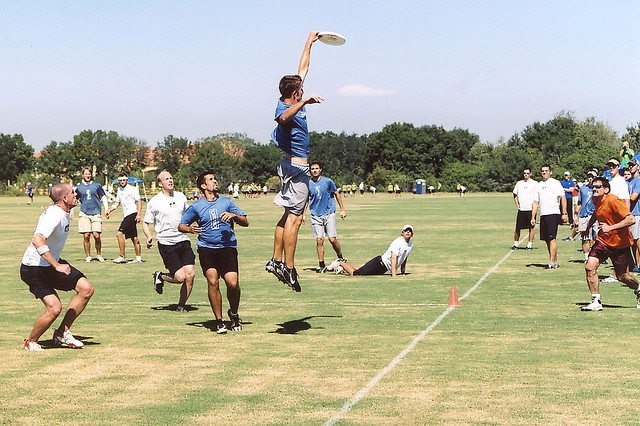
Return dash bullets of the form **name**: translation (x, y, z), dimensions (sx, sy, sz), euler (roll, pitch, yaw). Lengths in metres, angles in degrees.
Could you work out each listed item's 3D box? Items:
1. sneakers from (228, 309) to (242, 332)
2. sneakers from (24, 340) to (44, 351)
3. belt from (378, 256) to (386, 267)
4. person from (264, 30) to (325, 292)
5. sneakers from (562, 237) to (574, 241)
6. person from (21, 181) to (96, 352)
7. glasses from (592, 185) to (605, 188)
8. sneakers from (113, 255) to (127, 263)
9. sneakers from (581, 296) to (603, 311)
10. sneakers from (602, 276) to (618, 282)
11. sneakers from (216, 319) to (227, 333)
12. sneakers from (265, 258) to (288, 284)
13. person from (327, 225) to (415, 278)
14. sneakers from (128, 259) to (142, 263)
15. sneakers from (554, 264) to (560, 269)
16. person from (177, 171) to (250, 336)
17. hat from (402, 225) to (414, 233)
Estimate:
- **sneakers**: translation (-1.421, 1.750, 12.402), dimensions (0.167, 0.422, 0.185), euler (-7, -31, -31)
- **sneakers**: translation (-4.223, 1.972, 11.117), dimensions (0.339, 0.117, 0.117), euler (4, 8, 9)
- **belt**: translation (1.455, 1.173, 17.902), dimensions (0.120, 0.110, 0.141), euler (8, 16, 18)
- **person**: translation (-0.532, -0.468, 11.666), dimensions (0.683, 3.393, 0.910), euler (-1, 3, -2)
- **sneakers**: translation (8.712, 0.942, 26.405), dimensions (0.408, 0.148, 0.149), euler (3, 1, 34)
- **person**: translation (-4.029, 0.800, 11.361), dimensions (0.989, 2.488, 1.122), euler (-1, 3, -18)
- **glasses**: translation (5.003, -0.462, 13.540), dimensions (0.279, 0.070, 0.091), euler (-3, 3, -39)
- **sneakers**: translation (-5.619, 1.295, 20.641), dimensions (0.435, 0.171, 0.190), euler (1, 5, 1)
- **sneakers**: translation (4.995, 1.681, 13.699), dimensions (0.419, 0.229, 0.183), euler (2, 0, 5)
- **sneakers**: translation (6.520, 1.508, 16.842), dimensions (0.392, 0.135, 0.131), euler (1, -4, -25)
- **sneakers**: translation (-1.636, 1.883, 12.301), dimensions (0.148, 0.126, 0.304), euler (1, -6, -15)
- **sneakers**: translation (-0.691, 0.904, 11.636), dimensions (0.309, 0.347, 0.205), euler (-1, 3, -4)
- **person**: translation (1.463, 0.916, 18.223), dimensions (2.292, 1.288, 0.869), euler (2, 4, 43)
- **sneakers**: translation (-5.225, 1.362, 20.881), dimensions (0.411, 0.142, 0.137), euler (3, -3, 7)
- **sneakers**: translation (5.978, 1.373, 18.985), dimensions (0.118, 0.130, 0.052), euler (-4, 0, -7)
- **person**: translation (-1.757, 0.645, 12.372), dimensions (1.050, 2.630, 0.913), euler (-1, 3, -9)
- **hat**: translation (2.017, 0.361, 17.406), dimensions (0.243, 0.107, 0.306), euler (4, -6, -1)
